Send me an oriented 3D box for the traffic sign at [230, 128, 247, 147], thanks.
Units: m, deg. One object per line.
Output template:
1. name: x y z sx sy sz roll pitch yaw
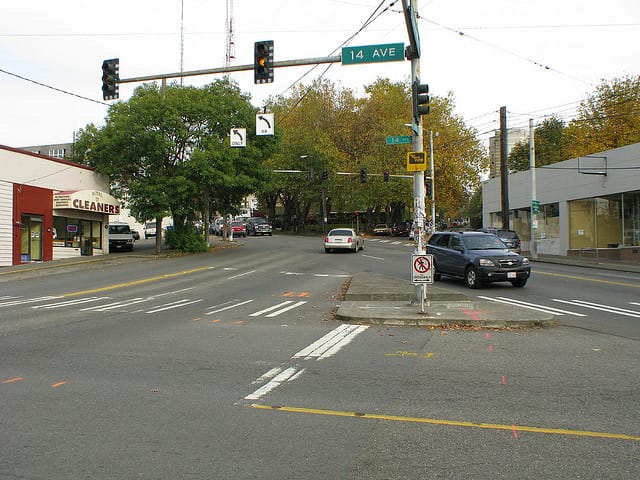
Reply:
1. traffic sign: -3.811 -4.709 28.623 0.592 0.791 0.755 -3 5 -36

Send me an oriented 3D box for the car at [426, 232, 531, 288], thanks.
1. car: 5.243 0.607 21.704 1.803 1.681 3.950 0 -2 -19

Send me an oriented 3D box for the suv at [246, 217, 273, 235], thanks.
1. suv: -6.420 -1.378 65.655 1.419 1.340 3.174 0 -3 -16

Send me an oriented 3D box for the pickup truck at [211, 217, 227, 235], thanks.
1. pickup truck: -10.834 -1.494 68.020 1.765 1.729 3.135 0 -3 -21

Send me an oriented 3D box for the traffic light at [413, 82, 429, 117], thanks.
1. traffic light: 2.499 -3.587 15.773 0.375 0.951 0.716 1 4 7

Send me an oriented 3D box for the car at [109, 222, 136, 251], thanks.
1. car: -13.310 -0.244 41.643 1.110 1.079 2.209 -1 -4 -11

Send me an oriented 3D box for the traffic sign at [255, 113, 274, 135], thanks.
1. traffic sign: -2.283 -4.813 25.737 0.644 0.963 1.470 0 4 -8

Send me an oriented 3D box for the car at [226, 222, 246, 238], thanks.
1. car: -8.007 -0.986 61.232 1.263 1.522 2.533 0 4 -2

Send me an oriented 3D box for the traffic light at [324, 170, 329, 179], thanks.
1. traffic light: 0.346 -5.469 51.678 0.462 0.681 0.950 -1 4 -9

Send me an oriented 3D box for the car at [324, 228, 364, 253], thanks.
1. car: 1.324 0.031 38.115 2.115 1.446 2.343 0 4 -2

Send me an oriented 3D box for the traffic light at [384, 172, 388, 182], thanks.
1. traffic light: 4.593 -4.588 44.547 0.324 0.686 1.088 1 5 12

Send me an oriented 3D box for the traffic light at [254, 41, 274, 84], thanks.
1. traffic light: -1.713 -5.400 18.963 0.587 1.282 0.391 0 4 -6
